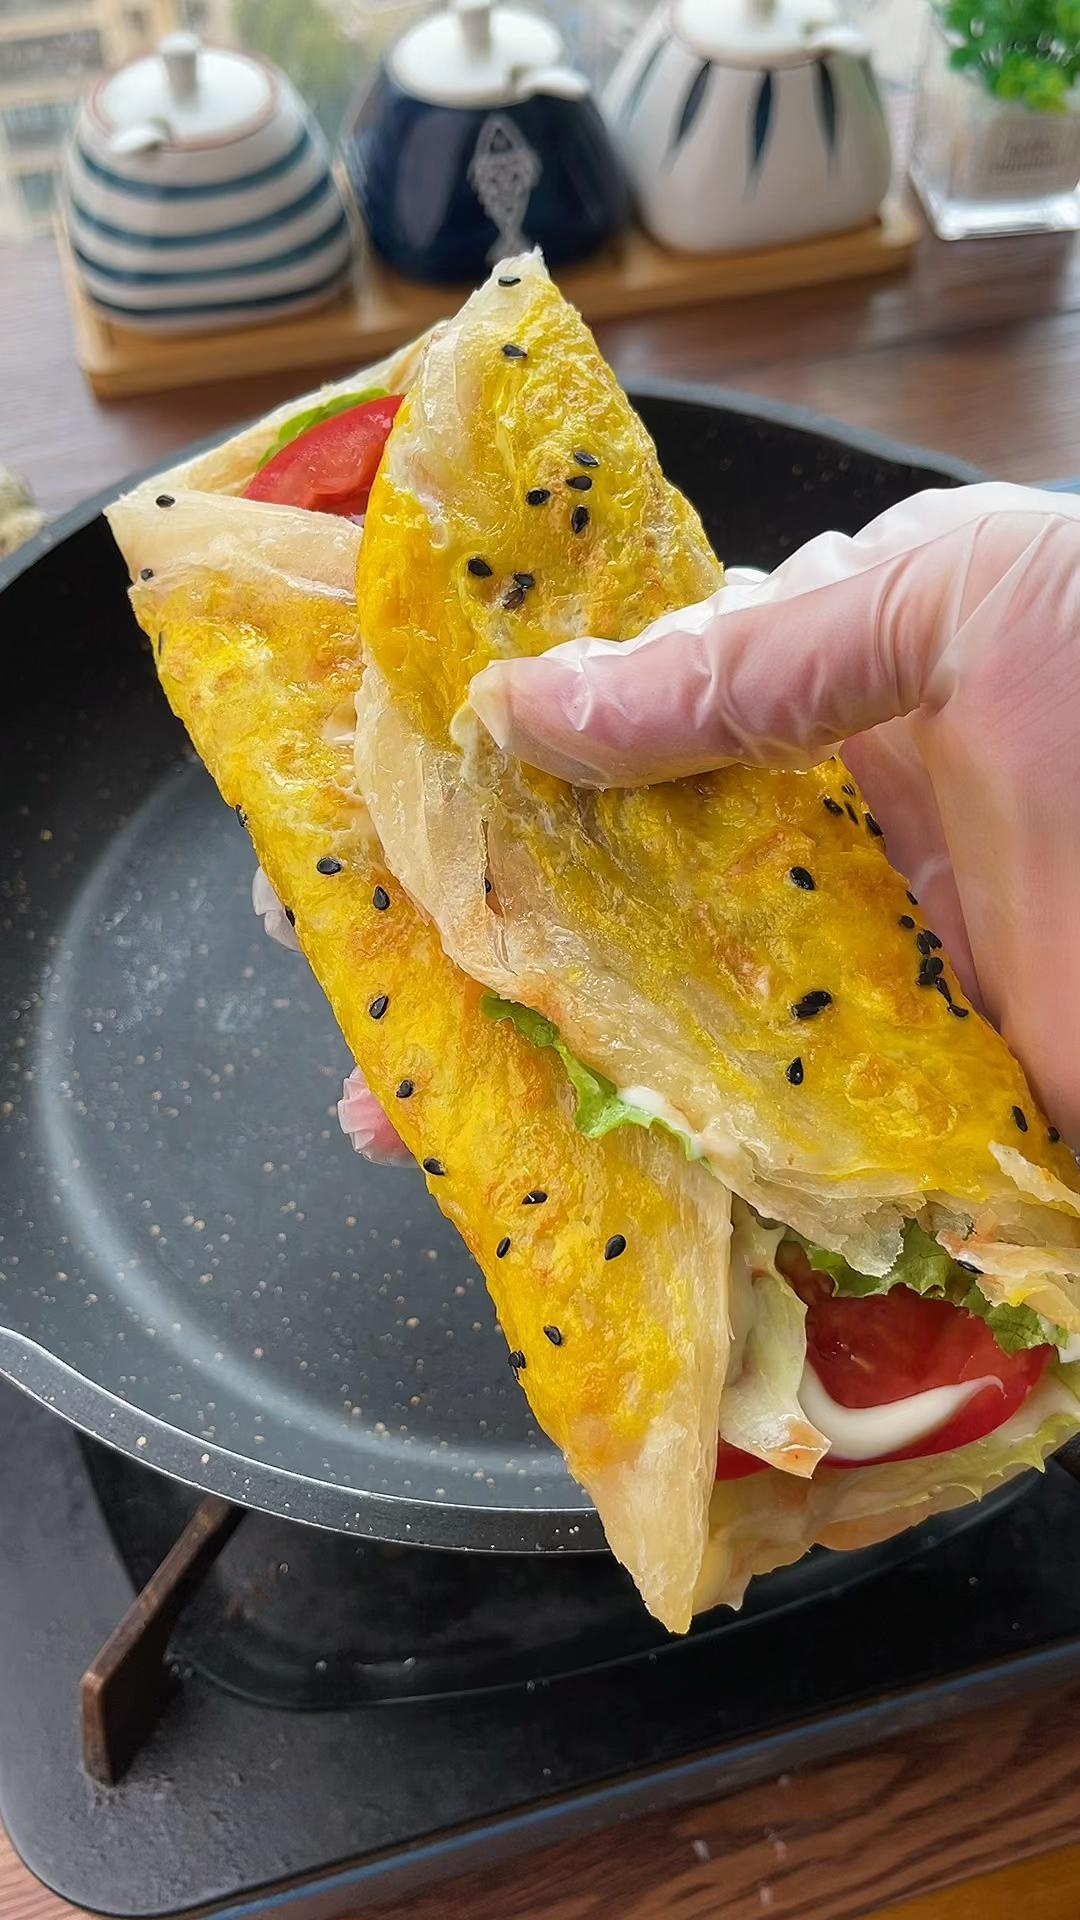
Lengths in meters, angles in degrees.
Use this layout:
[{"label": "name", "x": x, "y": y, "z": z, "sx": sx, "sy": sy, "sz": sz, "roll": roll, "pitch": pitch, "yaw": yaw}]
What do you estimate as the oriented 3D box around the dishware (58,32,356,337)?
[{"label": "dishware", "x": -0.517, "y": -1.203, "z": 2.586, "sx": 0.419, "sy": 0.326, "sz": 0.423, "roll": 2, "pitch": 51, "yaw": 3}]
